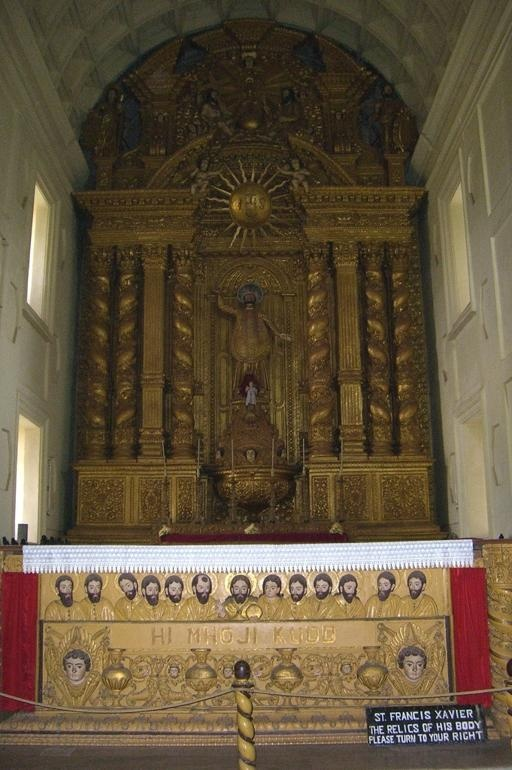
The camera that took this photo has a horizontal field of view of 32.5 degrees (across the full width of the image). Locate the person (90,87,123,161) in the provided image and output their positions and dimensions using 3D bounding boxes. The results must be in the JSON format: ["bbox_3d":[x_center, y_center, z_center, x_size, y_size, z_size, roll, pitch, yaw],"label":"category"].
[{"bbox_3d":[-1.969,-3.479,11.642,0.391,1.006,0.253,0,-18,-6],"label":"person"}]

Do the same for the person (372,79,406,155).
[{"bbox_3d":[1.748,-3.615,11.741,0.545,1.100,0.341,-6,-19,12],"label":"person"}]
